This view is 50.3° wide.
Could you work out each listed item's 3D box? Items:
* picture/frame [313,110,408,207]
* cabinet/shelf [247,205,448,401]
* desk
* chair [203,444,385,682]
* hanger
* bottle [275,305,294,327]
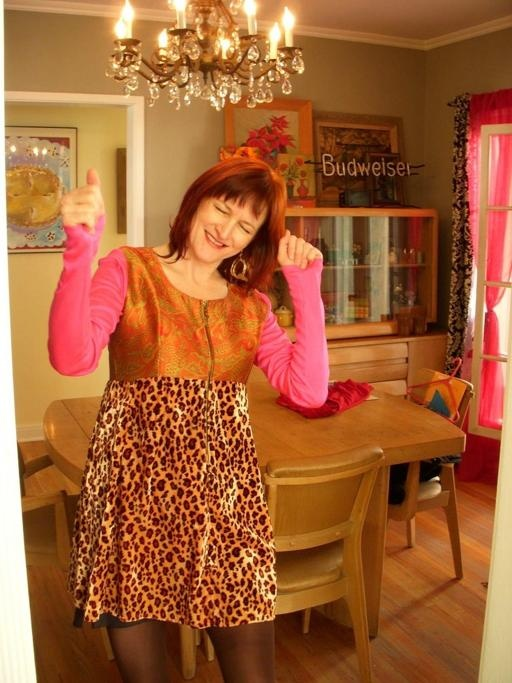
[{"bbox_3d":[0.789,-1.425,4.289,0.905,0.767,0.068,-3,1,-24],"label":"picture/frame"},{"bbox_3d":[0.636,-0.366,4.401,1.641,1.461,0.504,-1,4,-14],"label":"cabinet/shelf"},{"bbox_3d":[0.256,0.670,2.354,1.322,0.739,1.011,-3,23,-16],"label":"desk"},{"bbox_3d":[0.013,0.557,1.702,0.458,0.798,0.541,-2,6,-24],"label":"chair"},{"bbox_3d":[0.937,0.256,2.872,0.015,0.269,0.337,29,0,-20],"label":"hanger"},{"bbox_3d":[0.201,-0.187,3.927,0.128,0.135,0.135,-1,0,-17],"label":"bottle"}]
